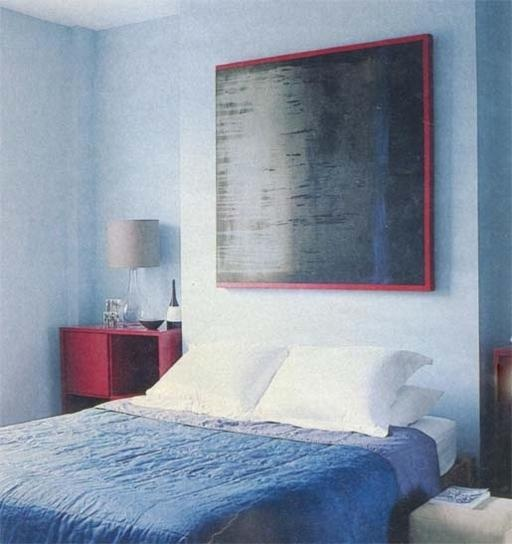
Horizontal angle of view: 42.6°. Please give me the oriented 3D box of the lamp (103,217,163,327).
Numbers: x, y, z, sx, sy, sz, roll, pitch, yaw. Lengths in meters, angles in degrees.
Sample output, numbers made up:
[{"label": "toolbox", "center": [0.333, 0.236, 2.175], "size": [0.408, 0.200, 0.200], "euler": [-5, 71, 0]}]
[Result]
[{"label": "lamp", "center": [-0.726, -0.006, 3.975], "size": [0.318, 0.641, 0.348], "euler": [-2, 3, -9]}]

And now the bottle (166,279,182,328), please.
[{"label": "bottle", "center": [-0.484, 0.184, 3.865], "size": [0.086, 0.273, 0.382], "euler": [-2, 3, -8]}]

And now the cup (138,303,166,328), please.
[{"label": "cup", "center": [-0.614, 0.253, 3.933], "size": [0.147, 0.096, 0.143], "euler": [1, 3, 0]}]

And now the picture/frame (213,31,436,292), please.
[{"label": "picture/frame", "center": [0.362, -0.527, 3.114], "size": [1.406, 1.239, 0.056], "euler": [1, 3, 37]}]
